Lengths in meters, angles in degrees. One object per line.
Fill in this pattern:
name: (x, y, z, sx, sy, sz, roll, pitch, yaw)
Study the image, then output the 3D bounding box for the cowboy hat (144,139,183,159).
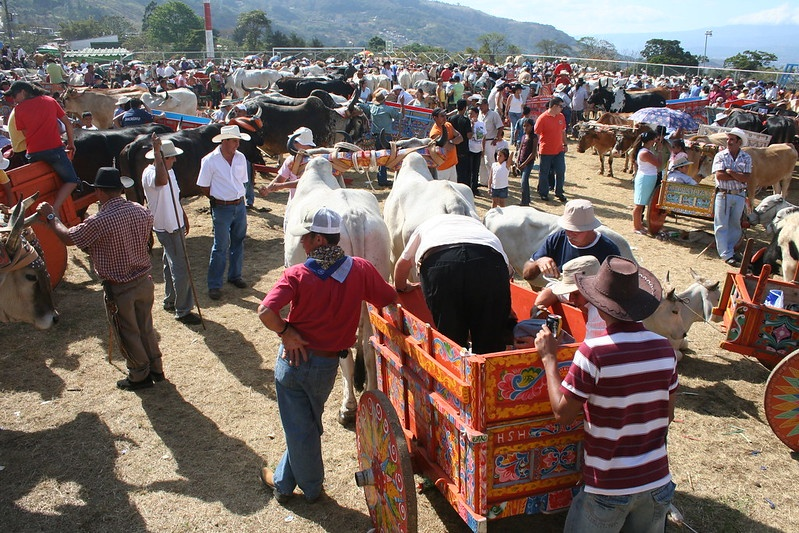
cowboy hat: (-3.225, -1.623, 8.542, 0.522, 0.167, 0.479, 1, 22, -1)

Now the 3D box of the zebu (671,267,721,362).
zebu: (4.042, 0.702, 8.418, 1.151, 0.753, 0.439, -38, 40, -13)

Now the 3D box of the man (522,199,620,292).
man: (1.875, -0.282, 6.776, 0.536, 0.880, 1.574, -1, -4, 6)

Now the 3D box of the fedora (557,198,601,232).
fedora: (1.984, -0.557, 6.745, 0.421, 0.345, 0.271, 8, 21, 9)

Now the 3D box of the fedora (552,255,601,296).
fedora: (1.754, 0.071, 6.198, 0.355, 0.233, 0.461, -29, -7, -16)

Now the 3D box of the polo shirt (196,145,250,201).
polo shirt: (-2.652, -1.420, 9.335, 0.833, 0.749, 0.448, -8, 9, -41)

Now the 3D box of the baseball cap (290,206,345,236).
baseball cap: (-0.783, -0.453, 5.826, 0.384, 0.229, 0.255, 4, 13, 5)

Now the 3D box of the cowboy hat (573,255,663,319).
cowboy hat: (1.841, 0.105, 5.198, 0.695, 0.286, 0.734, 7, 31, 13)

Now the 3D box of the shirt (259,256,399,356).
shirt: (-0.731, 0.347, 6.091, 1.320, 0.970, 0.623, 0, 23, -14)

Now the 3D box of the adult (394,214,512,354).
adult: (0.665, 0.141, 7.371, 1.523, 1.508, 2.698, -10, 8, 0)

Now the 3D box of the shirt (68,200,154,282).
shirt: (-3.593, -0.320, 7.654, 1.012, 0.893, 0.610, -18, 33, -33)

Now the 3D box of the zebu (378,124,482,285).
zebu: (0.257, -0.676, 7.744, 0.765, 1.193, 2.074, -5, 28, -1)
